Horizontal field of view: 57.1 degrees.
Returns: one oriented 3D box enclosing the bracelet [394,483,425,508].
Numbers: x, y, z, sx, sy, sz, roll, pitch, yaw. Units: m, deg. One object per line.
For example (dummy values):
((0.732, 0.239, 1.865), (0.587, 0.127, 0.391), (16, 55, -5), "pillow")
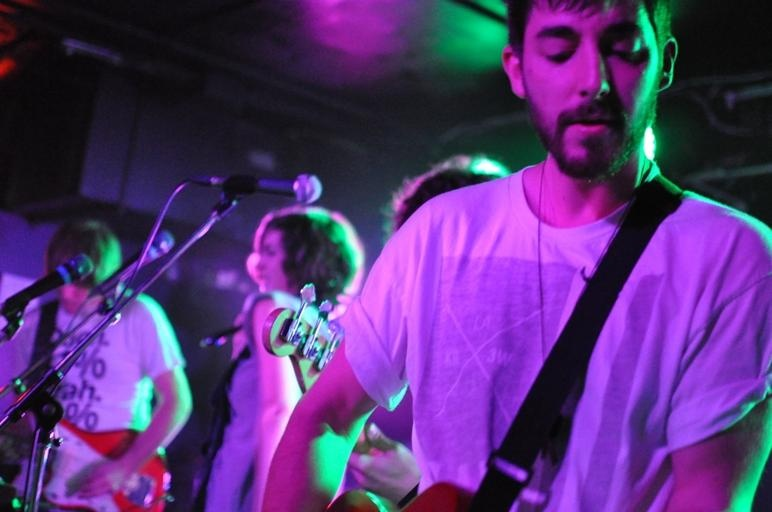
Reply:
((0.091, 0.916, 2.715), (0.142, 0.070, 0.017), (-37, -72, 21), "bracelet")
